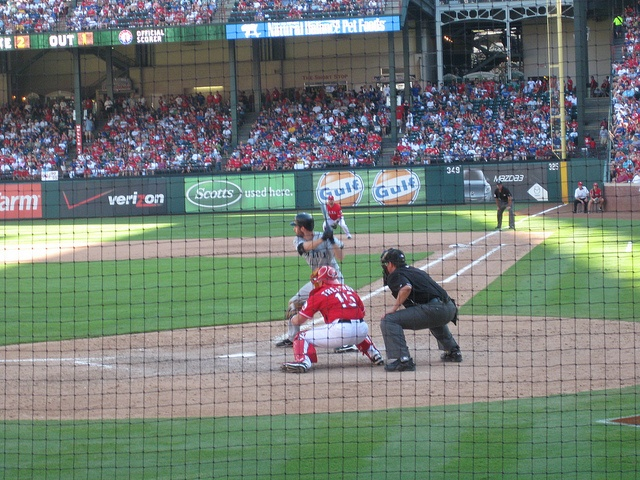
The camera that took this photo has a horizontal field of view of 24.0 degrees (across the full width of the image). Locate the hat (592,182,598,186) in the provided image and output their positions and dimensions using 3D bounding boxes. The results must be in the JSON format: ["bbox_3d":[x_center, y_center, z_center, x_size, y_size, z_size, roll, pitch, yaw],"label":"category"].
[{"bbox_3d":[11.774,-2.383,64.557,0.200,0.094,0.306,0,3,13],"label":"hat"}]

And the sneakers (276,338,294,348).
[{"bbox_3d":[-1.143,3.216,46.438,0.640,0.239,0.206,1,0,7],"label":"sneakers"}]

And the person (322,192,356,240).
[{"bbox_3d":[0.388,-0.784,55.298,0.997,1.542,0.904,-15,15,-11],"label":"person"}]

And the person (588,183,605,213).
[{"bbox_3d":[11.662,-1.778,63.975,0.660,1.165,1.134,-3,4,10],"label":"person"}]

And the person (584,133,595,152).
[{"bbox_3d":[12.290,-4.387,68.684,0.479,0.752,0.612,-3,4,9],"label":"person"}]

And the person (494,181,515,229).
[{"bbox_3d":[7.199,-1.383,59.339,0.721,1.927,1.309,-4,4,6],"label":"person"}]

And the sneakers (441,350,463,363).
[{"bbox_3d":[3.930,3.548,45.556,0.687,0.276,0.241,3,7,15],"label":"sneakers"}]

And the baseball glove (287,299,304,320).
[{"bbox_3d":[-0.948,2.178,46.446,0.622,0.227,0.451,-35,13,25],"label":"baseball glove"}]

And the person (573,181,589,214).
[{"bbox_3d":[11.170,-1.862,64.536,0.616,1.311,2.159,-3,4,11],"label":"person"}]

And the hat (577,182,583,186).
[{"bbox_3d":[11.078,-2.427,64.234,0.218,0.233,0.257,-1,-10,7],"label":"hat"}]

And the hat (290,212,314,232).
[{"bbox_3d":[-0.559,-0.552,46.245,0.582,0.546,0.560,-6,5,-25],"label":"hat"}]

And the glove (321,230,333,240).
[{"bbox_3d":[0.153,-0.167,45.807,0.313,0.328,0.266,-4,4,-1],"label":"glove"}]
